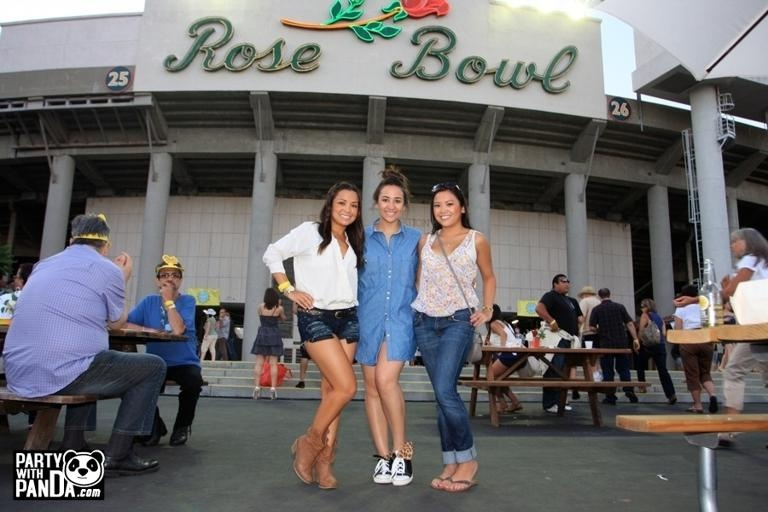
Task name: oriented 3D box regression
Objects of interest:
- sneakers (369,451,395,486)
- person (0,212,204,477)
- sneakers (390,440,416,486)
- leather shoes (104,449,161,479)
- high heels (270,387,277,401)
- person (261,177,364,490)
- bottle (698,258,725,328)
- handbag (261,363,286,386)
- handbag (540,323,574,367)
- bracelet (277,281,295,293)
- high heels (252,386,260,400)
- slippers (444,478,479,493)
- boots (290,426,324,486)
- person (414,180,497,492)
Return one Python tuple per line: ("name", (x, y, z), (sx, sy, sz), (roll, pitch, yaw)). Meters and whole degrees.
("sneakers", (-0.015, 2.167, 5.542), (0.231, 0.228, 0.579), (0, -17, 3))
("person", (-2.973, 0.860, 5.469), (1.382, 2.616, 0.444), (8, -12, -33))
("sneakers", (0.187, 2.075, 5.487), (0.232, 0.416, 0.138), (3, -10, -13))
("leather shoes", (-2.595, 2.129, 5.634), (0.512, 0.229, 0.187), (2, -2, -22))
("high heels", (-2.404, 2.961, 11.762), (0.104, 0.314, 0.123), (-2, 3, 1))
("person", (-0.662, 0.744, 5.532), (0.872, 3.062, 0.379), (1, -10, -2))
("bottle", (2.908, 0.328, 4.848), (0.196, 0.592, 0.195), (-3, -1, 0))
("handbag", (-2.490, 2.645, 12.206), (0.458, 0.287, 0.621), (1, -3, -10))
("handbag", (3.187, 1.663, 10.315), (0.943, 0.859, 0.784), (0, -9, 18))
("bracelet", (-0.992, 0.310, 5.494), (0.118, 0.082, 0.159), (-22, -7, -10))
("high heels", (-2.748, 2.933, 11.720), (0.151, 0.179, 0.413), (7, -41, -11))
("slippers", (0.782, 2.249, 5.376), (0.395, 0.098, 0.128), (6, -11, -29))
("boots", (-0.759, 1.991, 5.485), (0.274, 0.553, 0.509), (3, -10, -9))
("person", (0.713, 0.746, 5.578), (0.810, 3.123, 0.480), (-1, -10, 11))
